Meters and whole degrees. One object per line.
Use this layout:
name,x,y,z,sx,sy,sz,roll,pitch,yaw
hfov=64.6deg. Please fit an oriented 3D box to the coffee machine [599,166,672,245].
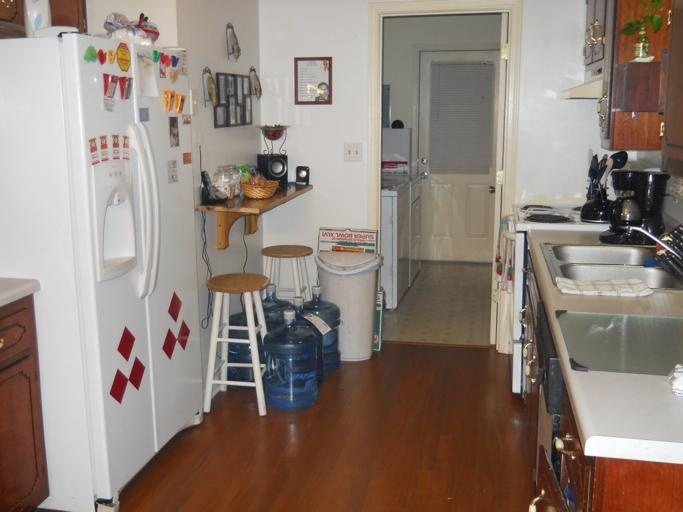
coffee machine,1.389,-0.261,2.735,0.383,0.470,0.269,5,12,22

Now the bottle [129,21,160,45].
bottle,-0.963,-1.093,2.634,0.130,0.101,0.127,-1,9,0

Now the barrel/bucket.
barrel/bucket,-0.395,0.557,3.516,0.452,0.661,0.877,0,12,0

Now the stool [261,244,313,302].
stool,-0.369,0.108,3.928,0.374,0.508,0.407,-1,7,-1

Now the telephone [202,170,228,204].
telephone,-0.771,-0.398,3.214,0.199,0.209,0.098,-4,7,-31

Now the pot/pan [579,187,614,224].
pot/pan,1.480,-0.313,3.186,0.202,0.239,0.205,-8,13,-36

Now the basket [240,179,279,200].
basket,-0.506,-0.438,3.496,0.146,0.060,0.154,8,19,32

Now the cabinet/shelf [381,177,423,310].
cabinet/shelf,0.574,-0.189,5.314,0.325,1.142,1.175,1,13,8

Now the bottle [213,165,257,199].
bottle,-0.678,-0.495,3.446,0.221,0.238,0.239,0,13,5

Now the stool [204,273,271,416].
stool,-0.641,0.498,3.343,0.414,0.795,0.589,-1,13,-5
